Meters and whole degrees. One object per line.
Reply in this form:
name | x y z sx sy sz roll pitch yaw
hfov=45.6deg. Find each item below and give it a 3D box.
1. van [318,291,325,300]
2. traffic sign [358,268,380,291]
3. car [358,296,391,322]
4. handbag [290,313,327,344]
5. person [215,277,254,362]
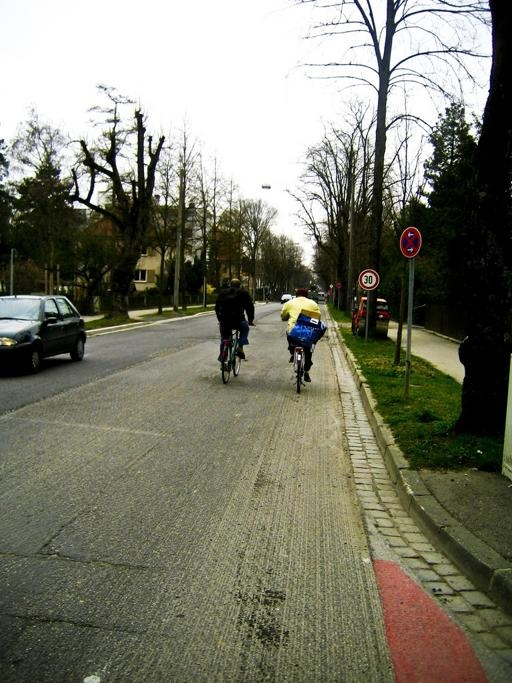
van | 13.799 -9.593 127.398 1.372 1.553 2.793 4 21 14
traffic sign | 3.604 -2.012 19.592 0.552 0.663 1.255 2 3 9
car | 5.186 -1.498 26.260 0.817 0.873 1.599 2 16 10
handbag | 0.875 -0.196 10.466 0.613 0.533 0.344 2 3 -7
person | -0.394 -0.384 11.101 0.688 1.470 1.058 2 3 -1
